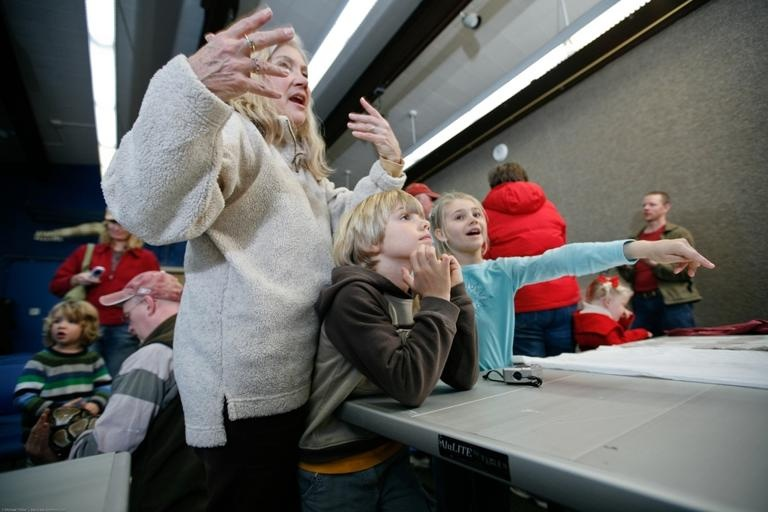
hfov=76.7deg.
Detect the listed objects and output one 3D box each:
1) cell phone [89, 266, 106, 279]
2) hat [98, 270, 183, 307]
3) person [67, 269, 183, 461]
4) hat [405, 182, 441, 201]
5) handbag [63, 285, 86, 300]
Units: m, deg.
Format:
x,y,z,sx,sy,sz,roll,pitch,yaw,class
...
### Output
x,y,z,sx,sy,sz,roll,pitch,yaw,class
-2.153,0.127,3.661,0.048,0.088,0.051,24,-14,36,cell phone
-1.399,0.165,2.831,0.444,0.180,0.303,0,6,-19,hat
-1.409,0.609,2.641,0.454,0.853,0.646,3,-20,17,person
0.323,-0.573,4.271,0.385,0.146,0.250,7,3,17,hat
-2.294,0.278,3.616,0.083,0.054,0.155,24,32,-5,handbag
